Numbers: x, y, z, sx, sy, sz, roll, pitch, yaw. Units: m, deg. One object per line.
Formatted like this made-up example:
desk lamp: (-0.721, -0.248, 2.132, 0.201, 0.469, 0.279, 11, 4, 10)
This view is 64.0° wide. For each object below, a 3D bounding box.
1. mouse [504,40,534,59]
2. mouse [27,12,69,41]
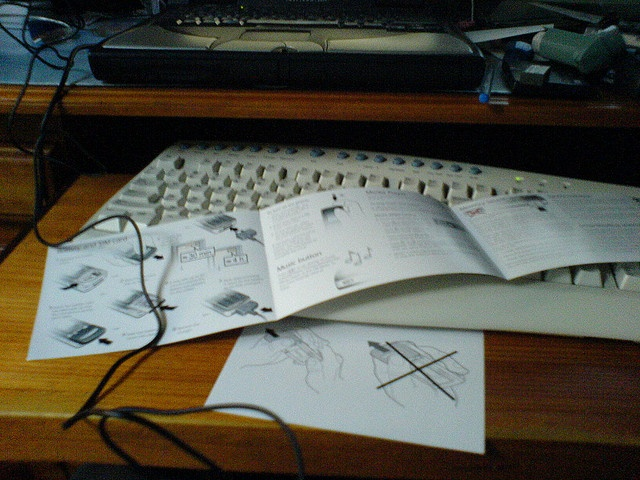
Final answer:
mouse: (0.327, -0.311, 0.836, 0.036, 0.014, 0.045, 13, 24, 7)
mouse: (-0.479, -0.375, 0.902, 0.082, 0.033, 0.049, 0, 30, 1)
